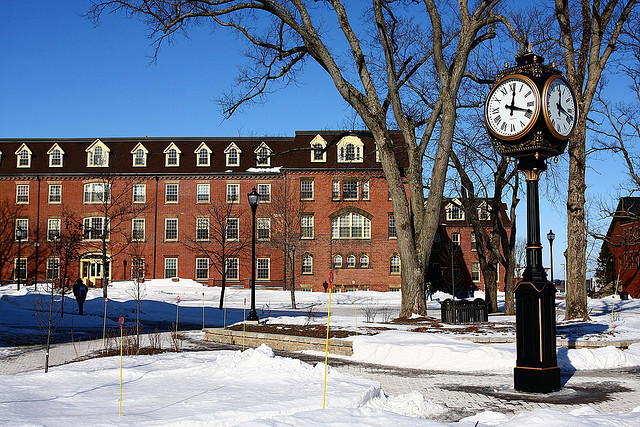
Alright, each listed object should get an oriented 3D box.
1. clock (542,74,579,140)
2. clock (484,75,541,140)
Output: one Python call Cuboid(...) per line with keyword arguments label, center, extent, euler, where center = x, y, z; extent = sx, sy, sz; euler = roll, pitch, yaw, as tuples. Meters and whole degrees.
Cuboid(label="clock", center=(7.232, -3.176, 21.768), extent=(1.850, 1.876, 0.248), euler=(-1, -2, -43))
Cuboid(label="clock", center=(5.873, -3.186, 21.822), extent=(1.650, 1.932, 0.173), euler=(-7, -12, 30))
